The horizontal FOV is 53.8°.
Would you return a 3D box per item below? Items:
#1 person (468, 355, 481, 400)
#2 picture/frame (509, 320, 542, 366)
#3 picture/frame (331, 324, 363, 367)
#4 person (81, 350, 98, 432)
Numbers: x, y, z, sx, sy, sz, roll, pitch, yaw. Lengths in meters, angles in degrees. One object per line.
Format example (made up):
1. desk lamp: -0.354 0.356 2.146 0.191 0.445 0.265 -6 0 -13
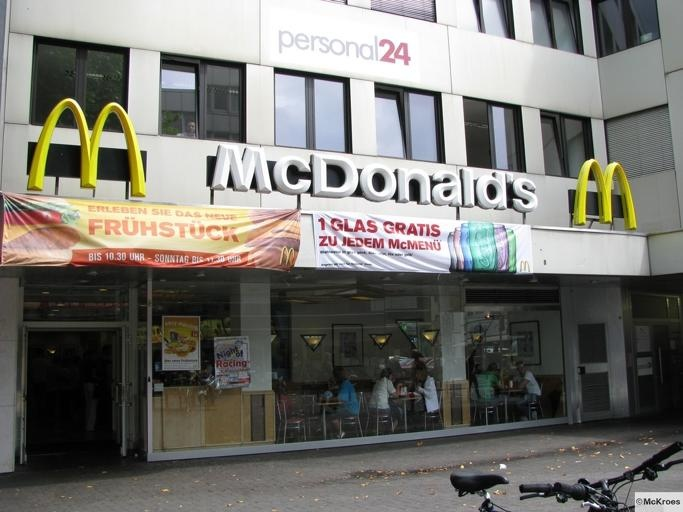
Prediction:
1. person: 3.435 3.131 17.371 0.367 1.105 0.087 5 -10 -37
2. picture/frame: 4.951 2.401 18.235 1.064 1.480 0.052 8 -17 -35
3. picture/frame: 0.090 2.127 15.830 0.900 1.117 0.111 6 -12 -33
4. person: -6.685 3.515 17.815 0.359 2.098 0.484 2 -9 -23
